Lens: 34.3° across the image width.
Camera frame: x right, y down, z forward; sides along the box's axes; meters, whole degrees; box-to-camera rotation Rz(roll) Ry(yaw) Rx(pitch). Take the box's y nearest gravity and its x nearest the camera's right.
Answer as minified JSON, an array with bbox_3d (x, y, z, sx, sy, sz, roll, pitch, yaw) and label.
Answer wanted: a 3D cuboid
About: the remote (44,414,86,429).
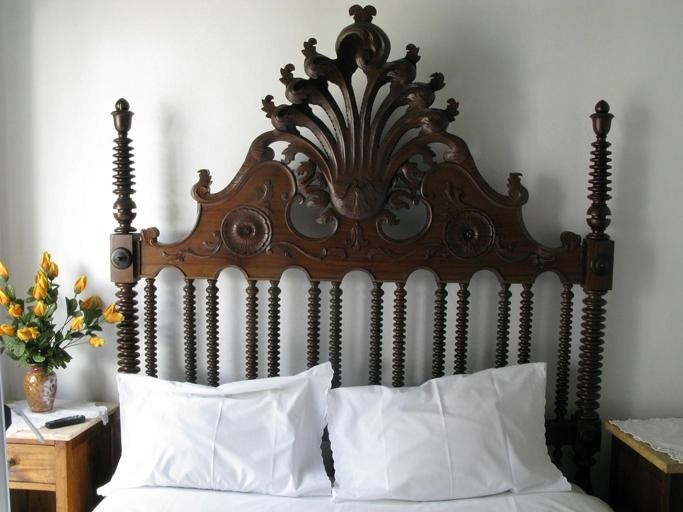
[{"bbox_3d":[-1.216,0.726,4.881,0.122,0.027,0.063,-2,1,-24],"label":"remote"}]

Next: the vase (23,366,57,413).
[{"bbox_3d":[-1.354,0.592,4.991,0.147,0.204,0.144,1,7,-28],"label":"vase"}]

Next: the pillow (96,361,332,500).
[{"bbox_3d":[-0.538,0.793,4.821,0.969,0.574,0.165,0,-8,8],"label":"pillow"}]

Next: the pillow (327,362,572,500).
[{"bbox_3d":[0.421,0.800,4.832,0.995,0.563,0.266,-3,-12,-12],"label":"pillow"}]
